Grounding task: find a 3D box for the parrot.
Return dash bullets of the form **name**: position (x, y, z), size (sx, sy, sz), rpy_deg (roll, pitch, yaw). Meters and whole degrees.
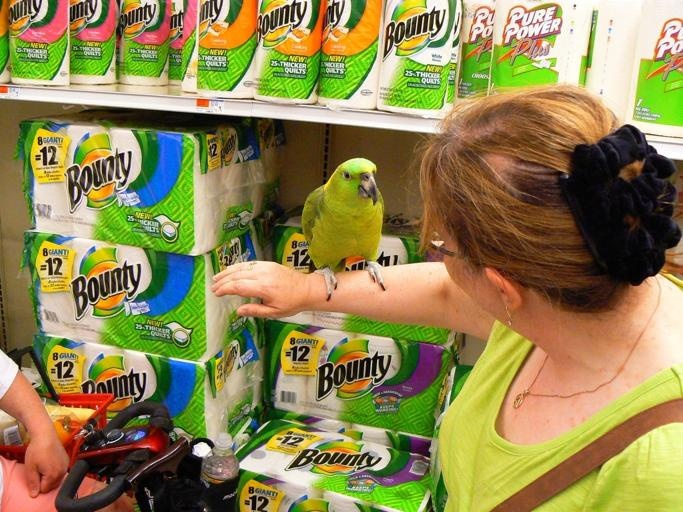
- **parrot**: position (-0.007, -0.104, 1.596), size (0.195, 0.397, 0.278), rpy_deg (-9, 26, -20)
